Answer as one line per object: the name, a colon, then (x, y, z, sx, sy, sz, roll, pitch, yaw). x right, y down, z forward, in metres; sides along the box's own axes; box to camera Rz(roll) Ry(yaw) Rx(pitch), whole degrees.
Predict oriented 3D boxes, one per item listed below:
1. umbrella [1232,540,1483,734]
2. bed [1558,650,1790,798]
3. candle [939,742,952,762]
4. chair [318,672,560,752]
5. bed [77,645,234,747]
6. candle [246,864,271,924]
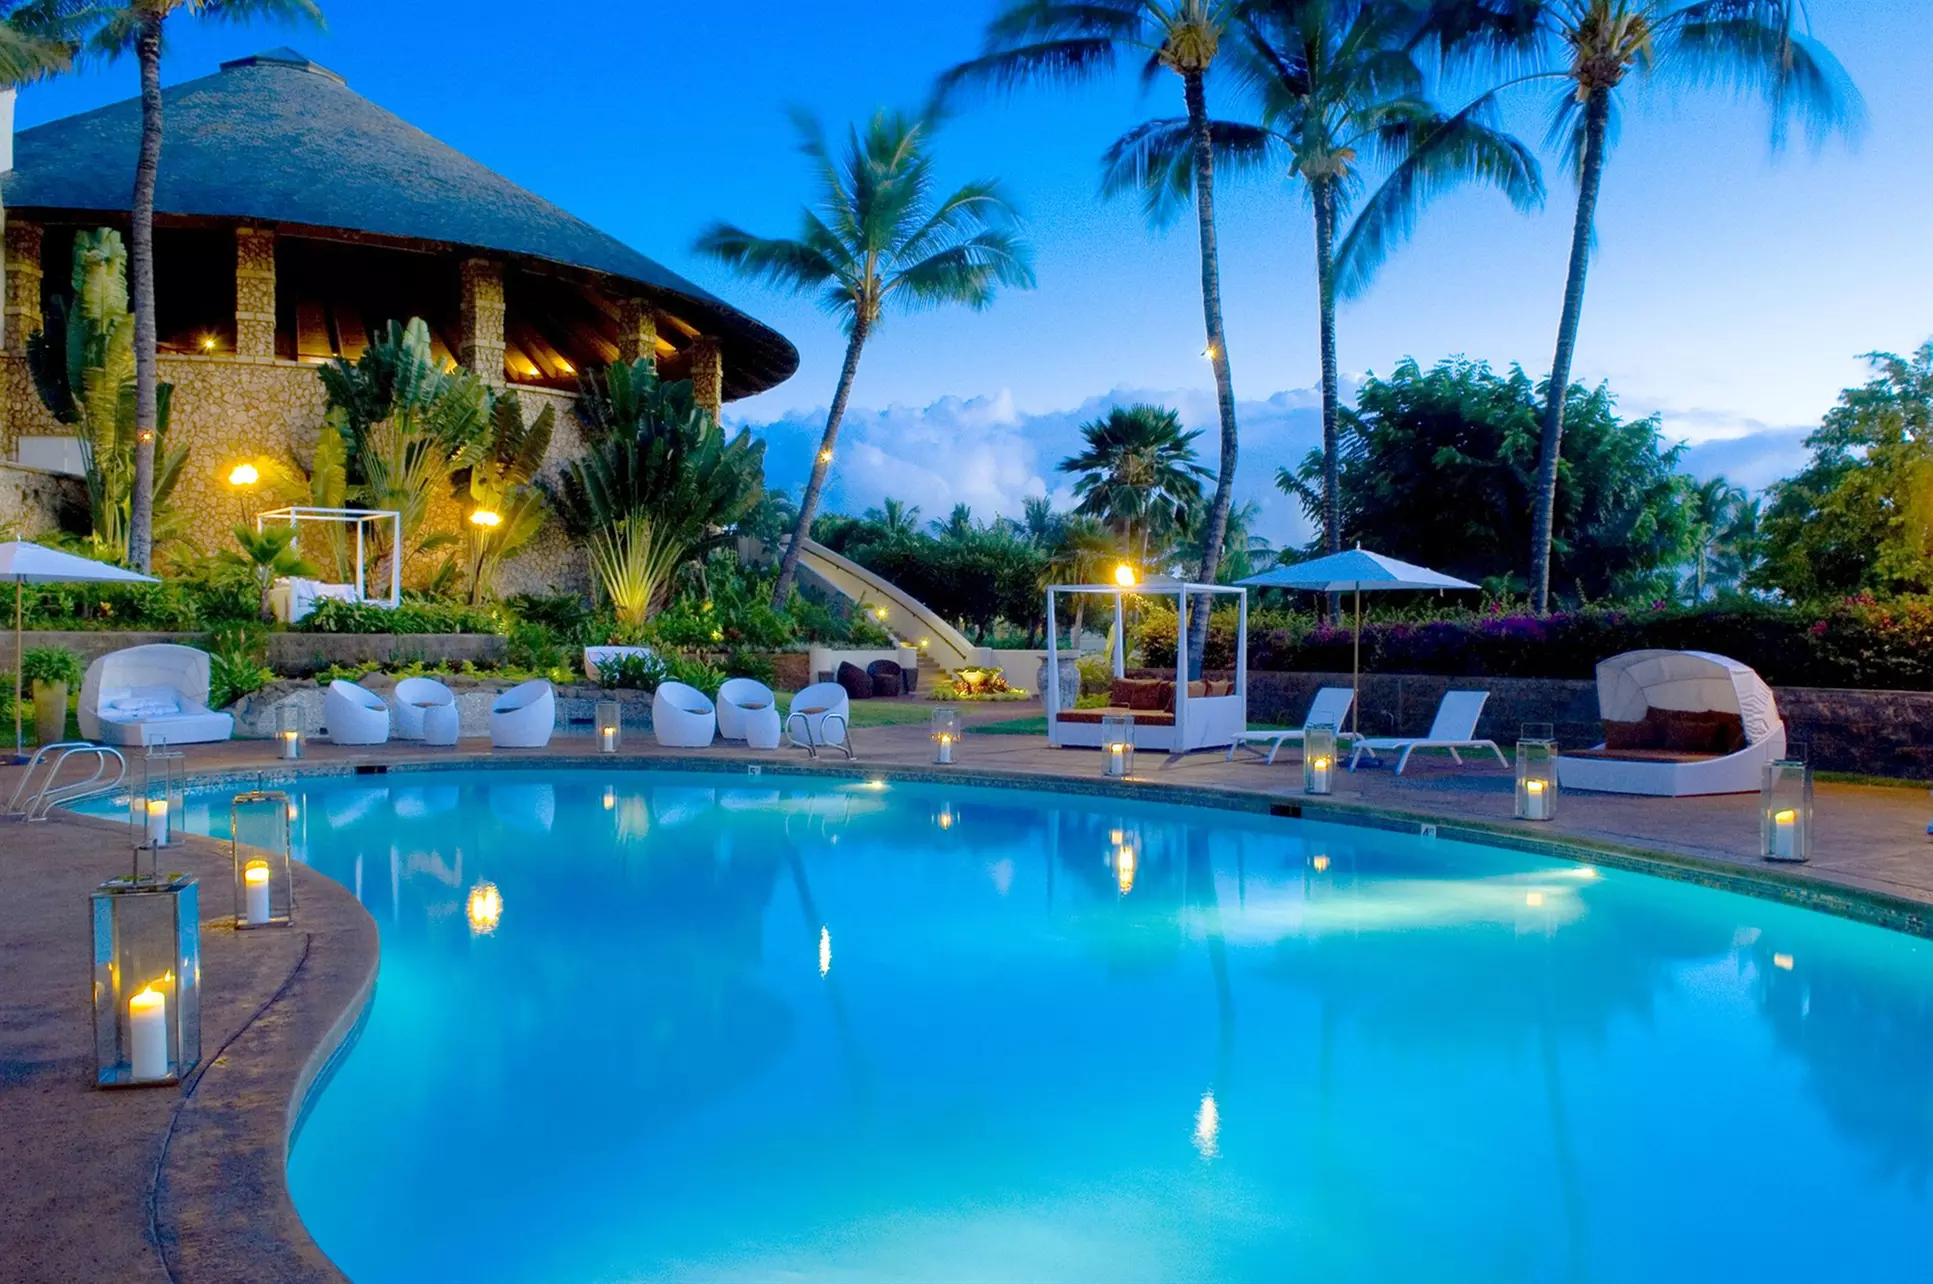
umbrella: (4.991, -0.330, 18.216, 2.142, 2.151, 2.131, -4, -9, 40)
bed: (8.020, 0.930, 16.717, 1.843, 1.621, 2.031, 5, -2, -22)
candle: (-0.255, 1.368, 18.612, 0.171, 0.272, 0.243, -1, 13, -1)
chair: (-7.391, 0.940, 20.450, 2.980, 0.971, 1.484, 0, 13, 1)
bed: (-10.945, 0.711, 19.786, 1.469, 1.380, 1.654, -1, -1, 40)
candle: (-5.248, 1.846, 10.819, 0.215, 0.428, 0.192, -8, 15, -31)
